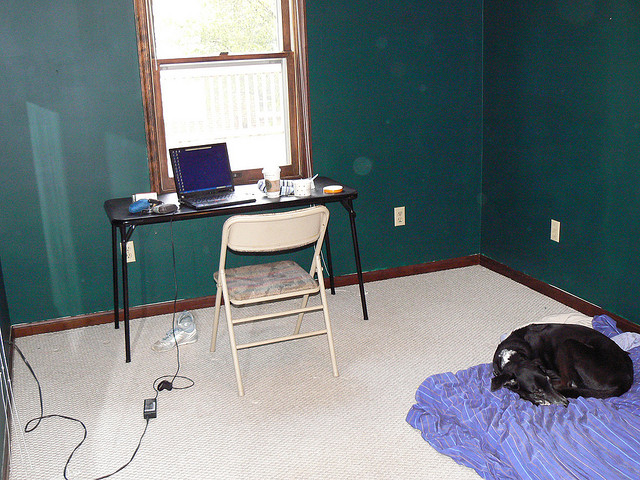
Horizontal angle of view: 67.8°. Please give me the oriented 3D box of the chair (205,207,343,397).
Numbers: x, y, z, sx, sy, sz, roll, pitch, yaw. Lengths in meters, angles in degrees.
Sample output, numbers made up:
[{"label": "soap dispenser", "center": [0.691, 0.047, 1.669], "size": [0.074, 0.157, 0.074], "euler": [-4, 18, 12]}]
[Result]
[{"label": "chair", "center": [-0.254, 0.247, 2.519], "size": [0.635, 0.869, 0.643], "euler": [-9, 16, -34]}]

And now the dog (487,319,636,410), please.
[{"label": "dog", "center": [1.045, 0.554, 2.073], "size": [0.507, 0.203, 0.393], "euler": [1, 23, 43]}]

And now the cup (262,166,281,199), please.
[{"label": "cup", "center": [-0.265, -0.342, 2.882], "size": [0.134, 0.169, 0.133], "euler": [-2, 7, 0]}]

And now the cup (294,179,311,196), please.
[{"label": "cup", "center": [-0.100, -0.316, 2.886], "size": [0.110, 0.098, 0.072], "euler": [-7, 6, -14]}]

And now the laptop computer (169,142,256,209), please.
[{"label": "laptop computer", "center": [-0.633, -0.384, 2.820], "size": [0.448, 0.290, 0.460], "euler": [-7, 22, -23]}]

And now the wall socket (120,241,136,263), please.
[{"label": "wall socket", "center": [-1.251, 0.078, 3.153], "size": [0.053, 0.143, 0.031], "euler": [-8, 6, -21]}]
